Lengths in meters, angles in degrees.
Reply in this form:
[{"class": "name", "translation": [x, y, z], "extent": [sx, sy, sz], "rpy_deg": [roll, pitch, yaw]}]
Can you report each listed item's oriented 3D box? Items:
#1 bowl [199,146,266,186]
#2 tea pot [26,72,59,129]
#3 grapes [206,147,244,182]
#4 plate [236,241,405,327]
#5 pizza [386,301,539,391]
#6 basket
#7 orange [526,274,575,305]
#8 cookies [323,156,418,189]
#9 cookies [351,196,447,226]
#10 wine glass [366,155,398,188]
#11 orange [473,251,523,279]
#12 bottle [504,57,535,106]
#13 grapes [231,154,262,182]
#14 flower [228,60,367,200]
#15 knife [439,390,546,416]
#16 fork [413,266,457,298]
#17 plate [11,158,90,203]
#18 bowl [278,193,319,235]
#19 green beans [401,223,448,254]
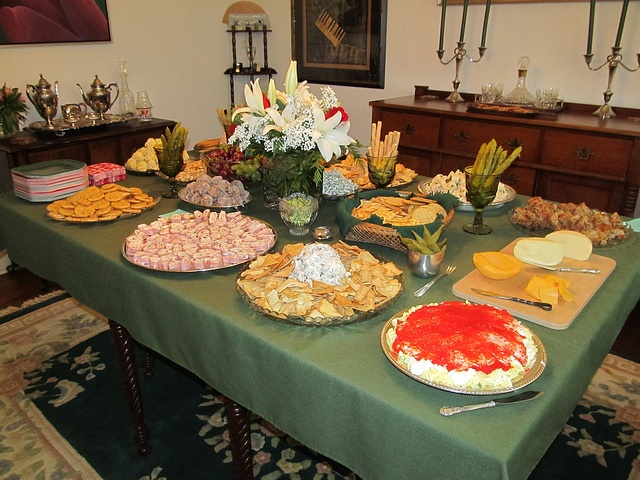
[{"class": "bowl", "translation": [-0.399, -0.351, 2.256], "extent": [0.288, 0.116, 0.274], "rpy_deg": [0, 12, 0]}, {"class": "tea pot", "translation": [-2.226, -1.124, 3.625], "extent": [0.181, 0.533, 0.261], "rpy_deg": [22, 24, 34]}, {"class": "grapes", "translation": [-0.451, -0.368, 2.177], "extent": [0.166, 0.095, 0.156], "rpy_deg": [4, 37, 9]}, {"class": "plate", "translation": [-0.051, 0.081, 1.509], "extent": [0.598, 0.225, 0.425], "rpy_deg": [-13, 22, -38]}, {"class": "pizza", "translation": [0.374, 0.272, 1.194], "extent": [0.422, 0.090, 0.283], "rpy_deg": [4, 24, 12]}, {"class": "basket", "translation": [0.267, -0.066, 1.686], "extent": [0.322, 0.090, 0.298], "rpy_deg": [-1, 24, -5]}, {"class": "orange", "translation": [0.704, 0.149, 1.395], "extent": [0.120, 0.076, 0.143], "rpy_deg": [13, 16, 40]}, {"class": "cookies", "translation": [0.219, -0.315, 2.122], "extent": [0.332, 0.106, 0.298], "rpy_deg": [-16, 27, -41]}, {"class": "cookies", "translation": [0.296, -0.118, 1.744], "extent": [0.194, 0.038, 0.190], "rpy_deg": [11, 22, 27]}, {"class": "wine glass", "translation": [0.250, -0.299, 1.975], "extent": [0.133, 0.169, 0.125], "rpy_deg": [-4, 30, -4]}, {"class": "orange", "translation": [0.583, 0.080, 1.485], "extent": [0.095, 0.040, 0.116], "rpy_deg": [-21, 38, -36]}, {"class": "bottle", "translation": [1.586, -1.269, 3.615], "extent": [0.244, 0.343, 0.254], "rpy_deg": [-1, 25, 1]}, {"class": "grapes", "translation": [-0.347, -0.348, 2.152], "extent": [0.078, 0.060, 0.135], "rpy_deg": [22, 15, 24]}, {"class": "flower", "translation": [-0.075, -0.447, 1.977], "extent": [0.579, 0.554, 0.544], "rpy_deg": [-10, 33, -15]}, {"class": "knife", "translation": [0.412, 0.390, 1.090], "extent": [0.262, 0.022, 0.031], "rpy_deg": [-6, 24, -12]}, {"class": "fork", "translation": [0.371, 0.139, 1.490], "extent": [0.023, 0.018, 0.162], "rpy_deg": [29, 44, 29]}, {"class": "plate", "translation": [-1.323, -0.338, 2.277], "extent": [0.323, 0.216, 0.364], "rpy_deg": [18, 24, 35]}, {"class": "bowl", "translation": [-0.083, -0.103, 1.814], "extent": [0.138, 0.171, 0.122], "rpy_deg": [15, 24, 35]}, {"class": "green beans", "translation": [0.342, -0.002, 1.508], "extent": [0.107, 0.053, 0.117], "rpy_deg": [-7, 2, 33]}]
